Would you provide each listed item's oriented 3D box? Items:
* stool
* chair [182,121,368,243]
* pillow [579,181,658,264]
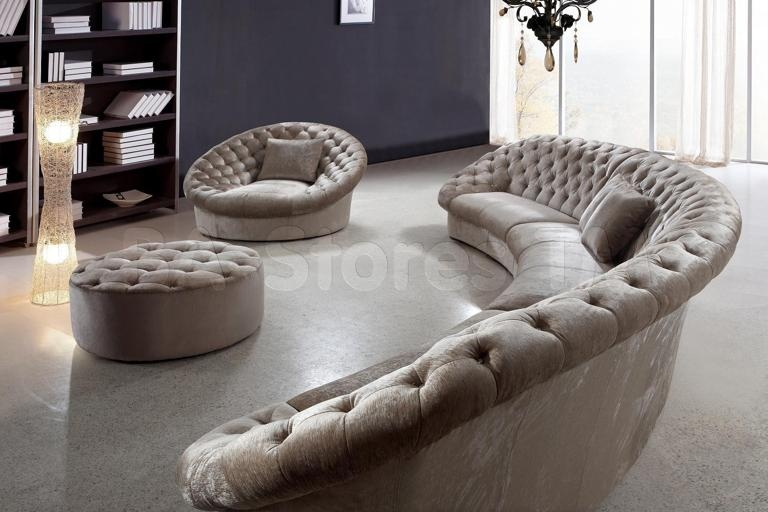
[{"bbox_3d":[-1.660,0.211,3.672,0.951,0.400,0.965,4,21,-14],"label":"stool"},{"bbox_3d":[-1.169,-0.706,5.693,1.507,0.768,1.470,3,18,16],"label":"chair"},{"bbox_3d":[1.591,-0.215,3.607,0.275,0.365,0.509,2,28,-1],"label":"pillow"}]
